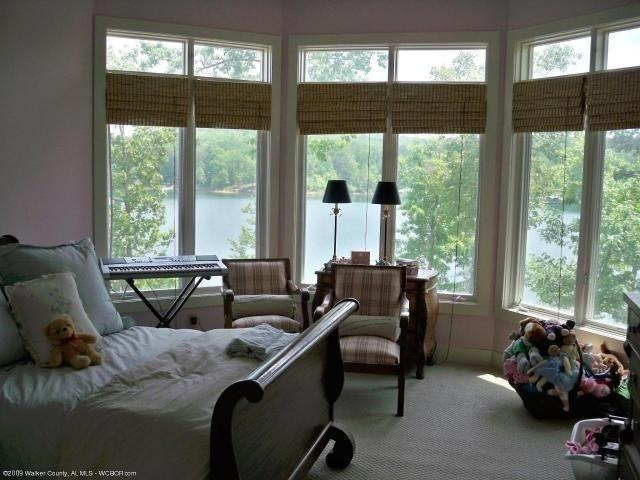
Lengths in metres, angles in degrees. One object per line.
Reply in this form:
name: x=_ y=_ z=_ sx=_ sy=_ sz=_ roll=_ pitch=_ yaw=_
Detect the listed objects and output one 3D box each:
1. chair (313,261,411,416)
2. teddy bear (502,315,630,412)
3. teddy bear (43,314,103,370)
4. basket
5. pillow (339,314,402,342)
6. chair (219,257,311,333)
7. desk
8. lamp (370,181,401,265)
chair: x=0.459 y=0.783 z=4.394 sx=0.958 sy=1.585 sz=1.094 roll=0 pitch=-1 yaw=9
teddy bear: x=1.992 y=1.006 z=4.092 sx=0.860 sy=0.633 sz=0.715 roll=-1 pitch=-4 yaw=27
teddy bear: x=-1.548 y=0.634 z=3.093 sx=0.275 sy=0.333 sz=0.306 roll=-6 pitch=10 yaw=24
basket: x=1.792 y=1.015 z=3.997 sx=0.550 sy=0.712 sz=0.272 roll=0 pitch=-13 yaw=33
pillow: x=0.421 y=0.754 z=4.227 sx=0.323 sy=0.095 sz=0.250 roll=-2 pitch=24 yaw=10
chair: x=-0.562 y=0.521 z=4.807 sx=0.685 sy=1.023 sz=0.709 roll=0 pitch=-7 yaw=-16
desk: x=0.721 y=0.741 z=5.240 sx=0.929 sy=0.939 sz=0.686 roll=5 pitch=7 yaw=24
lamp: x=0.683 y=-0.177 z=5.120 sx=0.271 sy=0.880 sz=0.592 roll=-1 pitch=12 yaw=6
